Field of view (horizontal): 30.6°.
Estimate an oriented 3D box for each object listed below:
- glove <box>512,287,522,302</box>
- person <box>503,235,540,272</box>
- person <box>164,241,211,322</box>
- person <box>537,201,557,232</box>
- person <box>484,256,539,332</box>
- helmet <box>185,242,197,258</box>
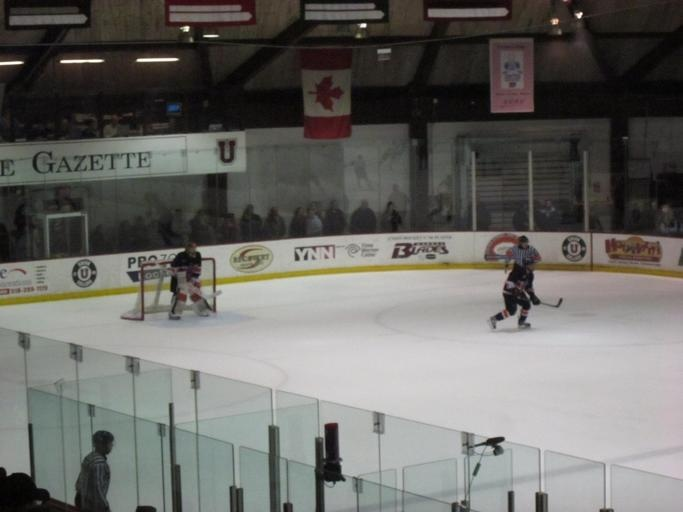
[{"bbox_3d":[3.528,0.751,24.777,0.240,0.267,0.085,0,1,-29],"label":"glove"},{"bbox_3d":[3.932,-0.069,26.887,0.793,1.240,0.457,-3,26,0],"label":"person"},{"bbox_3d":[-3.220,0.514,26.323,0.527,1.596,0.779,1,1,41],"label":"person"},{"bbox_3d":[5.286,-1.072,31.952,0.541,0.744,0.486,0,1,8],"label":"person"},{"bbox_3d":[3.598,0.684,24.952,1.354,1.862,0.928,-3,20,5],"label":"person"},{"bbox_3d":[-3.100,-0.158,26.231,0.213,0.256,0.273,0,-1,-31],"label":"helmet"}]
